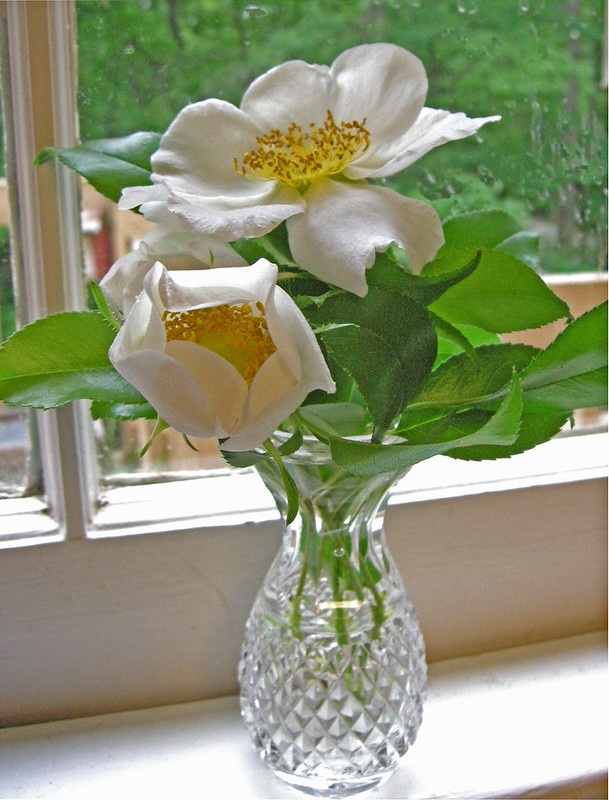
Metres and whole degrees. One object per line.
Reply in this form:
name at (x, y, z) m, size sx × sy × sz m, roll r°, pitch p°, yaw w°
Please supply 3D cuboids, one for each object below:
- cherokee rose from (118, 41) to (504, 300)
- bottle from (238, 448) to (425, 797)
cherokee rose at (0.010, -0.110, 0.451) m, size 0.179 × 0.140 × 0.054 m, roll -25°, pitch -4°, yaw -3°
bottle at (0.013, 0.132, 0.510) m, size 0.122 × 0.242 × 0.073 m, roll -1°, pitch 16°, yaw 6°
